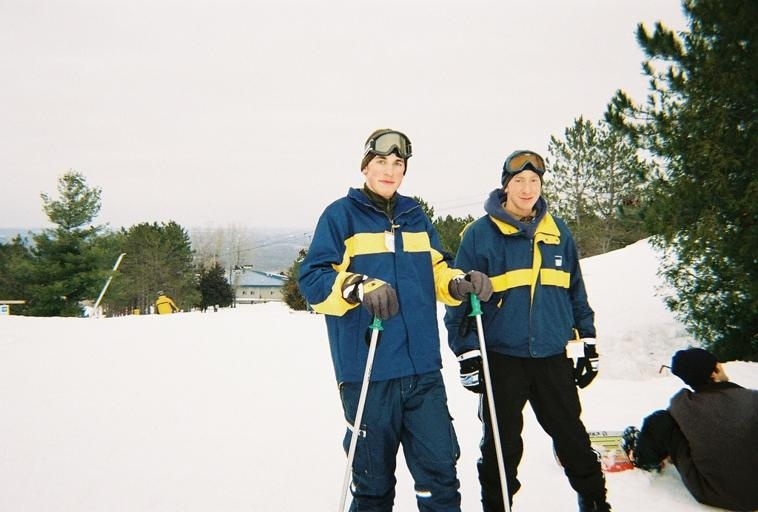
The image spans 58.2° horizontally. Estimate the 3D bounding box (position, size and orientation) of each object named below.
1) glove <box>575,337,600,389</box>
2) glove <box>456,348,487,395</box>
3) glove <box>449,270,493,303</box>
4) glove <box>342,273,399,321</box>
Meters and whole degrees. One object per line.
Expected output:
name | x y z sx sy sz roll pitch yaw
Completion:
glove | 2.928 1.506 9.598 0.411 0.643 0.186 2 1 -14
glove | 1.286 1.617 9.441 0.501 0.557 0.440 9 31 10
glove | 1.232 0.409 9.042 0.351 0.233 0.483 16 27 35
glove | -0.109 0.495 8.638 0.481 0.642 0.291 4 -39 -21
